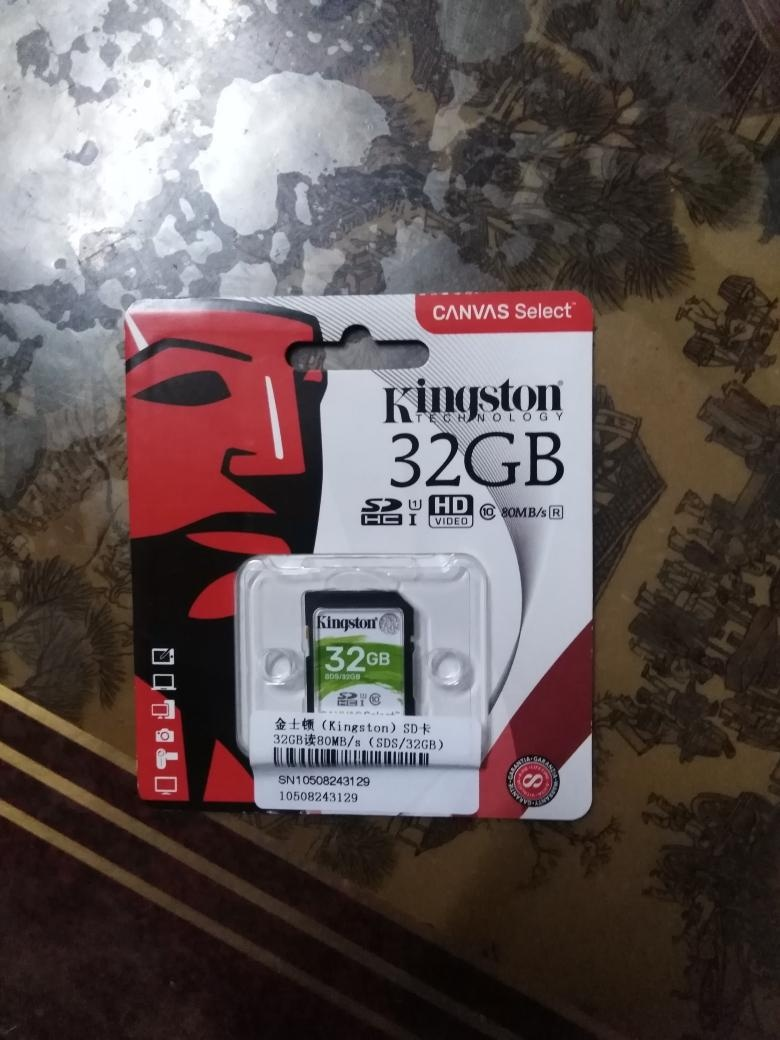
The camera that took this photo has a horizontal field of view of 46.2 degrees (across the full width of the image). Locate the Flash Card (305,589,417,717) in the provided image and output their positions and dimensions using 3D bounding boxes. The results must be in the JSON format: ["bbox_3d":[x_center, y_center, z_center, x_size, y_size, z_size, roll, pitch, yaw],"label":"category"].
[{"bbox_3d":[-0.023,0.132,0.894,0.134,0.011,0.146,0,90,0],"label":"Flash Card"}]
